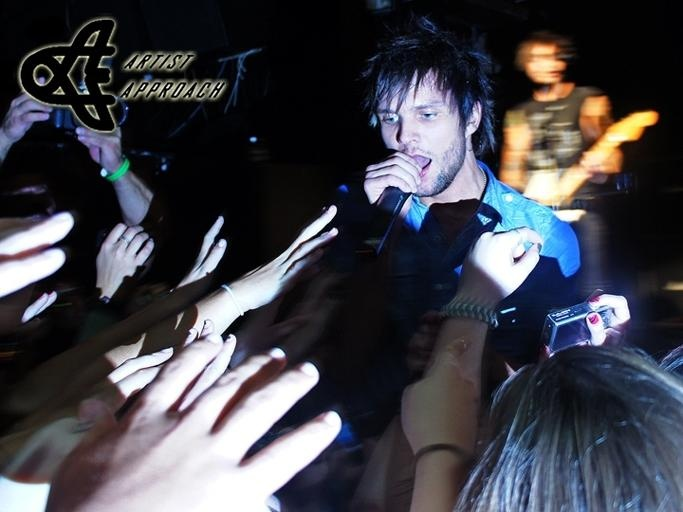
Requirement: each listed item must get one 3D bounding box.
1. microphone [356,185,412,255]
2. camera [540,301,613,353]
[{"bbox_3d":[0.114,-0.102,1.564,0.053,0.192,0.134,20,18,6],"label":"microphone"},{"bbox_3d":[0.545,0.168,1.336,0.164,0.132,0.039,-9,19,-5],"label":"camera"}]
